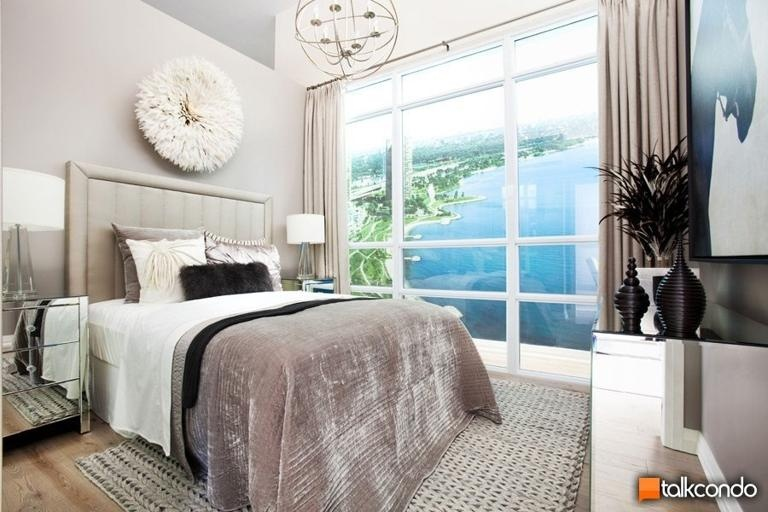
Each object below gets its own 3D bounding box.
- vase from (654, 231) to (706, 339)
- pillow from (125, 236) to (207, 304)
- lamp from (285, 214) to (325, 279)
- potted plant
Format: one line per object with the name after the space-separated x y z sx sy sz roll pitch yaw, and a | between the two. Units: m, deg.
1.388 0.152 2.168 0.188 0.388 0.242 14 19 42 | vase
-1.693 0.096 3.547 0.524 0.504 0.155 -5 -9 -42 | pillow
-0.861 -0.090 5.142 0.421 0.676 0.423 -2 -3 33 | lamp
1.921 -0.185 3.273 0.720 0.634 0.656 10 -9 -40 | potted plant
